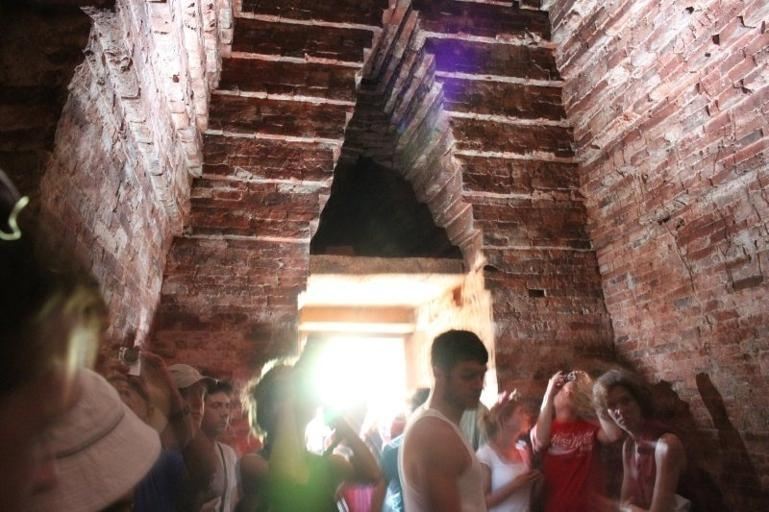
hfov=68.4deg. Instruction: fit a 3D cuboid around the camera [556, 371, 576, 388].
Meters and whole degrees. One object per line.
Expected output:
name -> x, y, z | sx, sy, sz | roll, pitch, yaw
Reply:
camera -> 1.839, 1.225, 5.737 | 0.172, 0.052, 0.119 | -26, 11, -22
